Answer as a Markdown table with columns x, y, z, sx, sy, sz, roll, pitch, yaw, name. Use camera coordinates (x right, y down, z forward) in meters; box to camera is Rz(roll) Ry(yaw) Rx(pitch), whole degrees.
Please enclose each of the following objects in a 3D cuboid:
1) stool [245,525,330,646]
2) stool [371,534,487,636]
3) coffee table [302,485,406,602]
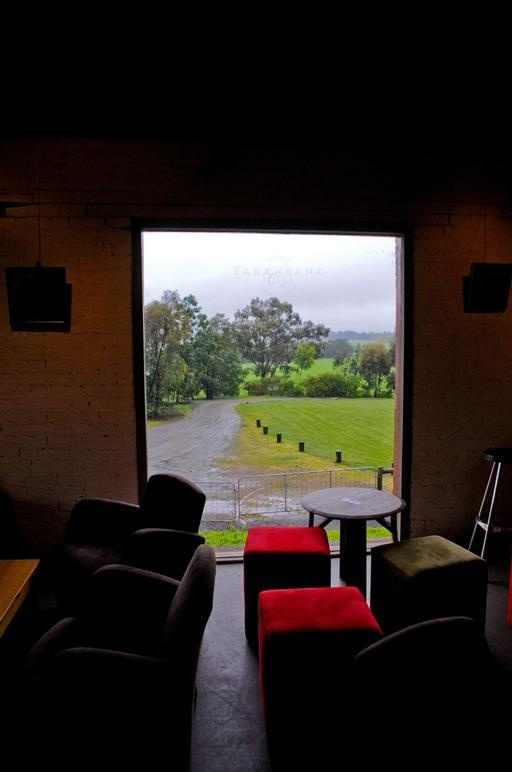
| x | y | z | sx | sy | sz | roll | pitch | yaw | name |
| --- | --- | --- | --- | --- | --- | --- | --- | --- | --- |
| 0.095 | 0.975 | 2.881 | 0.444 | 0.496 | 0.456 | -1 | 0 | -4 | stool |
| 0.781 | 0.875 | 2.776 | 0.481 | 0.442 | 0.487 | -6 | 10 | -17 | stool |
| 0.529 | 0.804 | 3.194 | 0.524 | 0.609 | 0.535 | -1 | 15 | 8 | coffee table |
